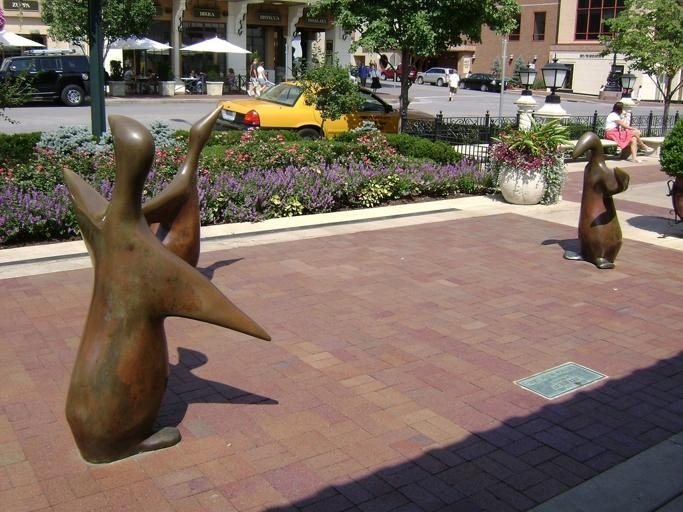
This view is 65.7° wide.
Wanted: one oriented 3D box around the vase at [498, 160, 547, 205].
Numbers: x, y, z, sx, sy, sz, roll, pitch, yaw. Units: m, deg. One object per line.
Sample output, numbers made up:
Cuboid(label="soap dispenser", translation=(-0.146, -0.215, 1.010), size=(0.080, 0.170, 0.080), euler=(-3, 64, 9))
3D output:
Cuboid(label="vase", translation=(4.120, -1.596, 12.049), size=(1.119, 0.816, 1.110), euler=(2, 14, 25))

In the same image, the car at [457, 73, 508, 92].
Cuboid(label="car", translation=(13.560, -16.635, 50.919), size=(3.657, 1.760, 4.342), euler=(1, 16, -2))
